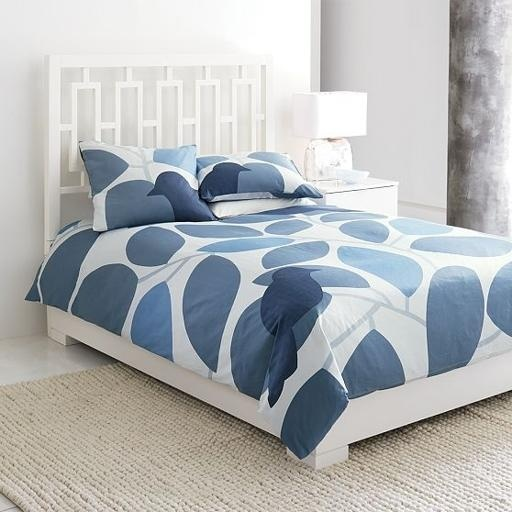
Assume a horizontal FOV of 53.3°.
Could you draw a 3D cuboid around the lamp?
[{"bbox_3d":[0.474,-0.807,3.376,0.370,0.610,0.408,4,8,39],"label":"lamp"}]
